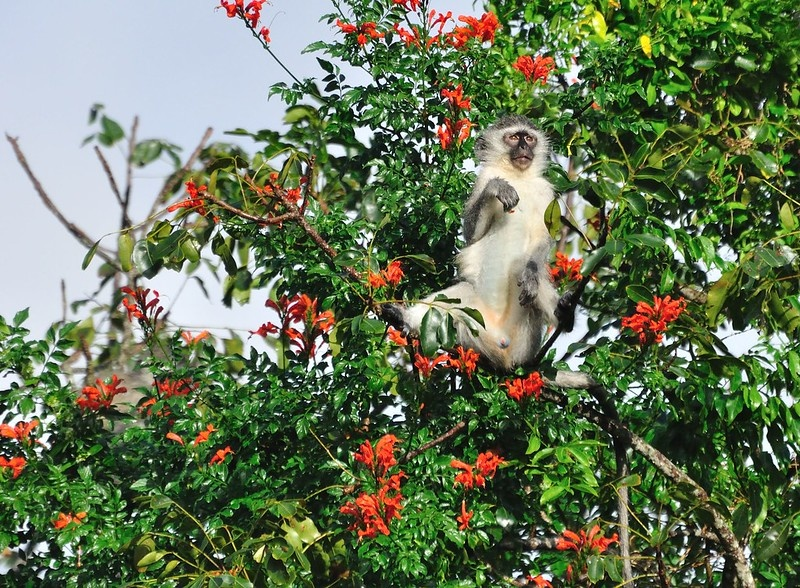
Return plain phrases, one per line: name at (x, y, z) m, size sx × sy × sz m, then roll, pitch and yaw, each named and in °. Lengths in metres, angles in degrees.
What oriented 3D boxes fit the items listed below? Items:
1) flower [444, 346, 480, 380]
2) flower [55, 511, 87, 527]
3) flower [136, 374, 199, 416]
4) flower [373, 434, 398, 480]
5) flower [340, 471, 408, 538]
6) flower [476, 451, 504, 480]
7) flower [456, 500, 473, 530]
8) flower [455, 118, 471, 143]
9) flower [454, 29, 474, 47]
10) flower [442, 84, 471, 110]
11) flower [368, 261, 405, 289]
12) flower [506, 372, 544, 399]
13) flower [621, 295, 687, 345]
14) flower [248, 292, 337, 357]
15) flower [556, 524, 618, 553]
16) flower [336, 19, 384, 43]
flower at (0.430, 0.430, 7.584) m, size 0.207 × 0.200 × 0.199 m, roll -8°, pitch -79°, yaw -32°
flower at (-2.122, 1.442, 7.552) m, size 0.169 × 0.099 × 0.073 m, roll -8°, pitch -5°, yaw -17°
flower at (-1.583, 0.679, 7.892) m, size 0.429 × 0.243 × 0.210 m, roll -17°, pitch -46°, yaw 20°
flower at (-0.089, 0.992, 7.166) m, size 0.130 × 0.255 × 0.320 m, roll 4°, pitch -42°, yaw 0°
flower at (-0.131, 1.253, 7.231) m, size 0.295 × 0.408 × 0.394 m, roll 30°, pitch -46°, yaw -10°
flower at (0.569, 1.078, 7.438) m, size 0.167 × 0.169 × 0.099 m, roll -28°, pitch -60°, yaw 8°
flower at (0.408, 1.382, 7.324) m, size 0.091 × 0.071 × 0.167 m, roll 9°, pitch -68°, yaw 22°
flower at (0.427, -1.092, 7.871) m, size 0.085 × 0.160 × 0.247 m, roll 0°, pitch -42°, yaw 5°
flower at (0.423, -1.781, 8.163) m, size 0.112 × 0.079 × 0.134 m, roll 10°, pitch -43°, yaw -8°
flower at (0.378, -1.312, 7.687) m, size 0.181 × 0.113 × 0.179 m, roll 9°, pitch -10°, yaw -7°
flower at (-0.090, -0.119, 7.288) m, size 0.177 × 0.186 × 0.146 m, roll 26°, pitch -54°, yaw 26°
flower at (0.789, 0.589, 7.402) m, size 0.190 × 0.101 × 0.188 m, roll -2°, pitch -22°, yaw -8°
flower at (1.574, 0.102, 7.277) m, size 0.307 × 0.165 × 0.304 m, roll -31°, pitch -57°, yaw 21°
flower at (-0.596, 0.170, 7.159) m, size 0.401 × 0.407 × 0.302 m, roll 5°, pitch -42°, yaw 0°
flower at (1.145, 1.508, 7.158) m, size 0.259 × 0.120 × 0.266 m, roll 2°, pitch -18°, yaw 12°
flower at (-0.270, -1.830, 8.167) m, size 0.329 × 0.180 × 0.169 m, roll 4°, pitch -42°, yaw -2°
